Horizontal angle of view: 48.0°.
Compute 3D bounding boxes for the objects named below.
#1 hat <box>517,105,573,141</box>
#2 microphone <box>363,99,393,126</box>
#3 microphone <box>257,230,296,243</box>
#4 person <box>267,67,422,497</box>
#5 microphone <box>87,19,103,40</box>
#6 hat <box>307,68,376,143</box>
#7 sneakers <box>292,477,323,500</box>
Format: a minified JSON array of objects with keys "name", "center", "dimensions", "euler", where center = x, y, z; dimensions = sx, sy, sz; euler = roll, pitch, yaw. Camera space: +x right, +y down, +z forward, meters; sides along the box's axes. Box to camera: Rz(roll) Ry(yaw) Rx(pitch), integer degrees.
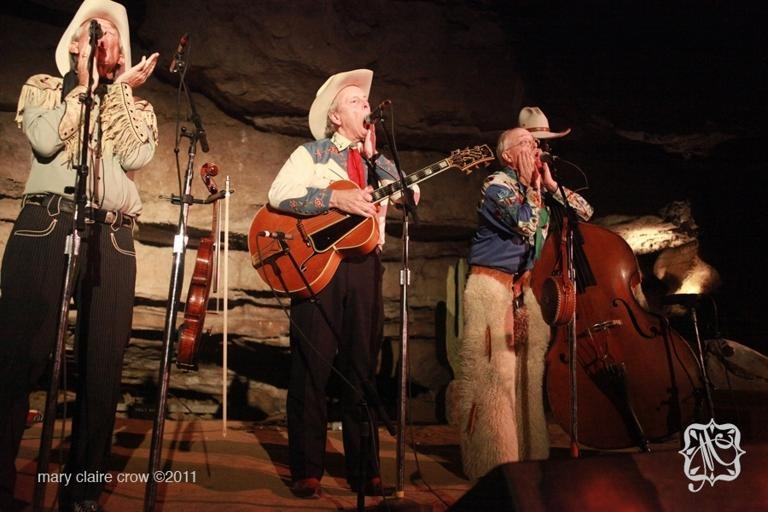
[{"name":"hat","center":[1.290,-1.062,7.029],"dimensions":[0.327,0.138,0.370],"euler":[-18,6,-25]},{"name":"microphone","center":[0.002,-1.076,6.366],"dimensions":[0.121,0.131,0.485],"euler":[-12,14,21]},{"name":"microphone","center":[-0.786,-0.142,6.309],"dimensions":[0.286,0.051,0.049],"euler":[9,14,-45]},{"name":"person","center":[-0.348,0.118,6.363],"dimensions":[0.849,3.213,0.542],"euler":[-4,-15,12]},{"name":"microphone","center":[-1.934,-1.507,5.743],"dimensions":[0.107,0.139,0.058],"euler":[-2,12,-10]},{"name":"hat","center":[-0.381,-1.239,6.696],"dimensions":[0.180,0.579,0.465],"euler":[36,-10,24]},{"name":"sneakers","center":[-0.535,1.656,6.111],"dimensions":[0.139,0.087,0.173],"euler":[6,-13,-32]}]
